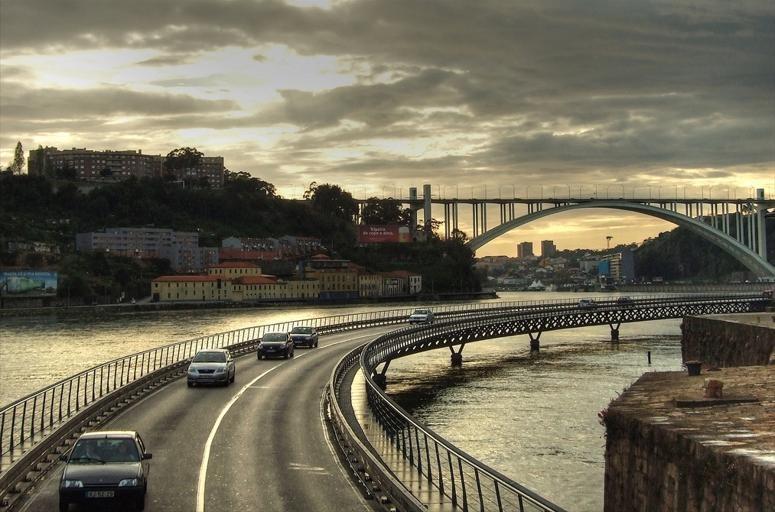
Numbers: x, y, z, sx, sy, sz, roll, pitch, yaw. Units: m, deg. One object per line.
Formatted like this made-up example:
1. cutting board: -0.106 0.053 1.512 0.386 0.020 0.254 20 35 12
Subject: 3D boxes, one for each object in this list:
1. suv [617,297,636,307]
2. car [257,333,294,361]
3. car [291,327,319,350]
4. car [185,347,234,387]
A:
1. suv: 29.290 5.708 130.293 1.834 0.865 2.444 -1 -4 10
2. car: -8.497 6.794 80.056 2.527 1.443 2.352 -2 0 11
3. car: -6.999 6.838 87.388 1.582 1.005 3.227 -1 -7 3
4. car: -11.327 7.114 67.155 2.901 1.805 1.729 -2 1 -14
